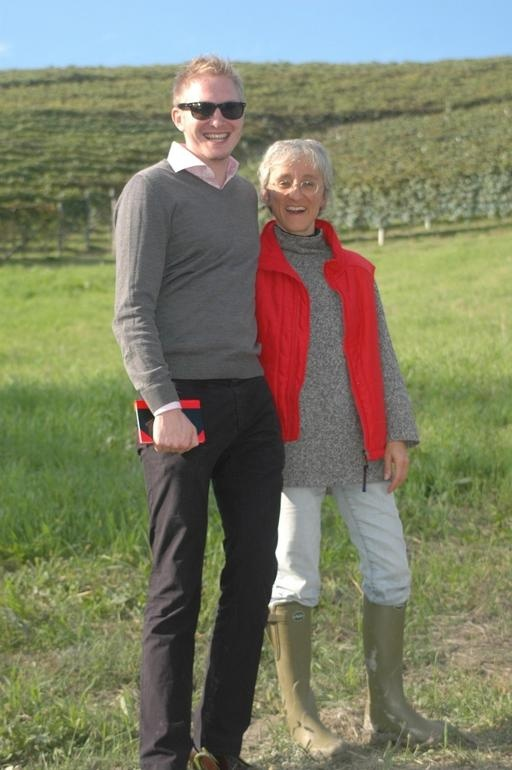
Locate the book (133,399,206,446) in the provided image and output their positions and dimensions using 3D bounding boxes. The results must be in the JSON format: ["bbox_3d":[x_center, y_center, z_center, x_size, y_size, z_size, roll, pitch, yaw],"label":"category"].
[{"bbox_3d":[-0.285,0.122,3.628,0.172,0.139,0.043,2,-11,-15],"label":"book"}]
